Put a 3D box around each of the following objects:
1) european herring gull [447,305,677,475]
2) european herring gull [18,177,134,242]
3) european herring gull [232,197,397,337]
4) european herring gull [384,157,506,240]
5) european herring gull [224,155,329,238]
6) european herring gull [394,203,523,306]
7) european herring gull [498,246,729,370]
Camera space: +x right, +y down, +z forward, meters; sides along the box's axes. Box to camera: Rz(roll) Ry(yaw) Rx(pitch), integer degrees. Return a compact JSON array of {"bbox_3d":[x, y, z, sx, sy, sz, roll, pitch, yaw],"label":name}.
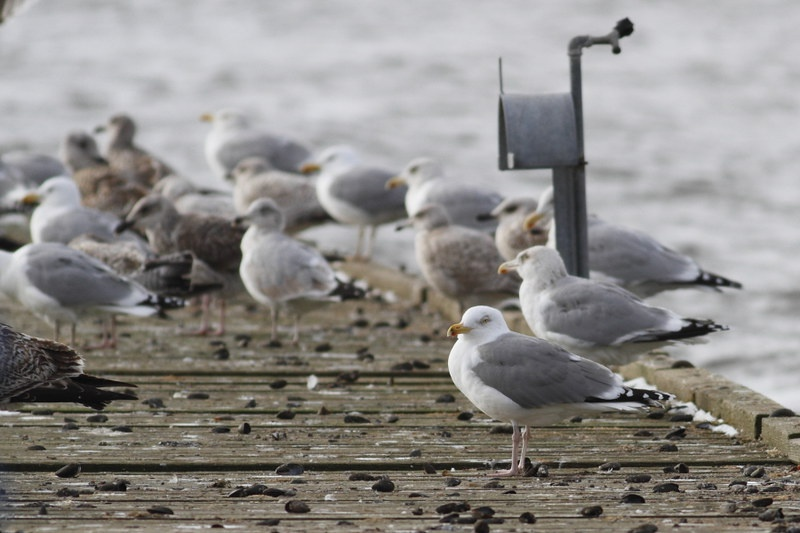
[{"bbox_3d":[1.100,0.946,15.440,1.462,1.268,0.464,0,1,2],"label":"european herring gull"},{"bbox_3d":[-3.119,-0.490,19.214,1.137,0.579,0.542,-1,-8,3],"label":"european herring gull"},{"bbox_3d":[-0.549,-0.005,18.587,1.782,1.148,0.812,3,0,21],"label":"european herring gull"},{"bbox_3d":[0.574,-0.668,20.281,1.673,0.808,0.510,-6,15,-26],"label":"european herring gull"},{"bbox_3d":[-1.280,-0.710,20.209,1.043,0.571,0.708,10,3,19],"label":"european herring gull"},{"bbox_3d":[0.581,-0.030,19.069,1.687,1.026,0.693,2,7,-18],"label":"european herring gull"},{"bbox_3d":[1.766,0.379,16.449,1.961,0.998,0.791,2,10,34],"label":"european herring gull"}]
